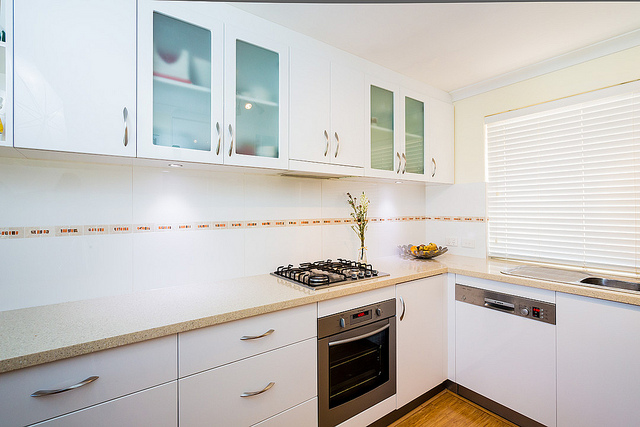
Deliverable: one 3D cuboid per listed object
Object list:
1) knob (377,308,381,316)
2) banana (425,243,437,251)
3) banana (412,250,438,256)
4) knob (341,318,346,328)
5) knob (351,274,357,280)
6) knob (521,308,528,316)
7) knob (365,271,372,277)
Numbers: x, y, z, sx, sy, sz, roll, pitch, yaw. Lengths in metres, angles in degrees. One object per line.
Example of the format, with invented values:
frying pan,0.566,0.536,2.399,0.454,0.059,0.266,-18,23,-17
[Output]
knob,0.441,0.734,3.062,0.034,0.044,0.011,2,0,-32
banana,1.039,0.312,3.819,0.063,0.041,0.085,-3,1,44
banana,0.967,0.357,3.778,0.223,0.067,0.048,-7,-15,10
knob,0.162,0.774,2.900,0.021,0.065,0.044,-11,-17,25
knob,0.257,0.480,3.113,0.026,0.036,0.039,4,5,41
knob,1.546,0.745,3.109,0.013,0.044,0.046,1,-3,-14
knob,0.377,0.477,3.213,0.037,0.055,0.036,1,-4,-41
